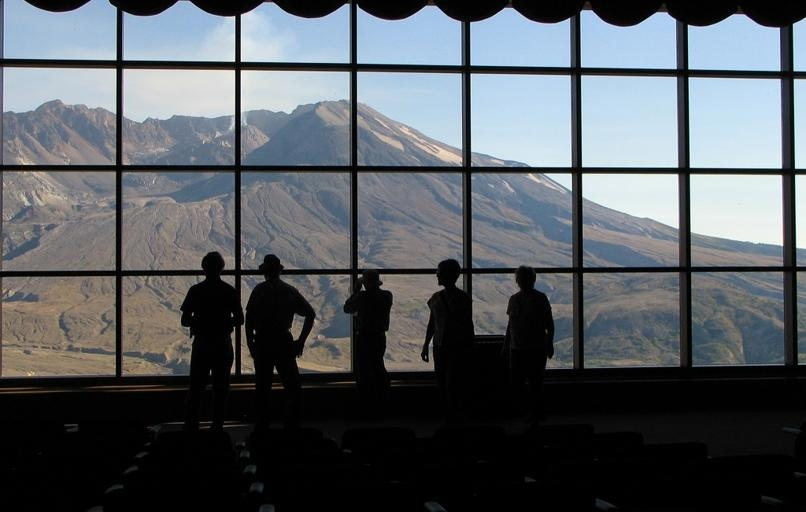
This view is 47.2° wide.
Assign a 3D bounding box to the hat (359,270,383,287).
[{"bbox_3d":[-0.587,0.438,17.483,0.332,0.362,0.382,0,0,-13],"label":"hat"}]
